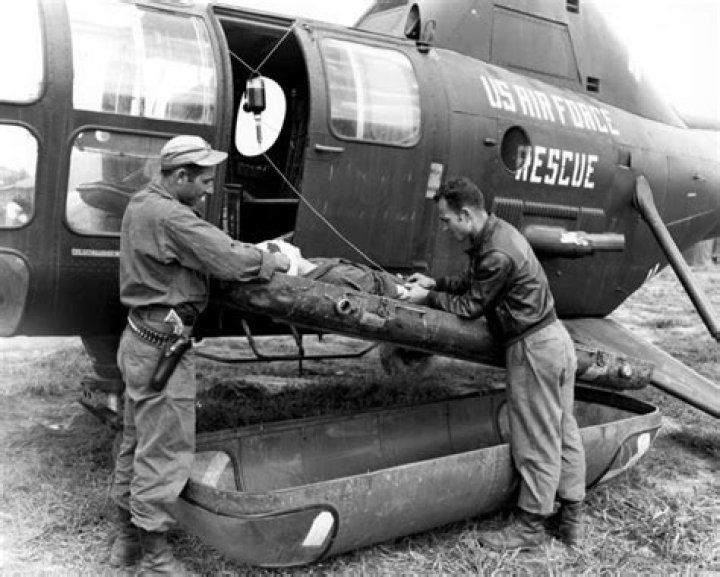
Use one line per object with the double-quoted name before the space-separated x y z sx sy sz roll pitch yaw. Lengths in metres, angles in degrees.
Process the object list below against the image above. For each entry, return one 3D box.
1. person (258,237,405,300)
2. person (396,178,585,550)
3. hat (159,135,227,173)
"person" -0.119 -0.107 4.058 0.664 0.205 0.441 22 5 -2
"person" 0.887 0.427 4.045 1.038 2.140 0.626 7 10 23
"hat" -0.875 -0.698 3.477 0.262 0.127 0.195 -6 22 -15
